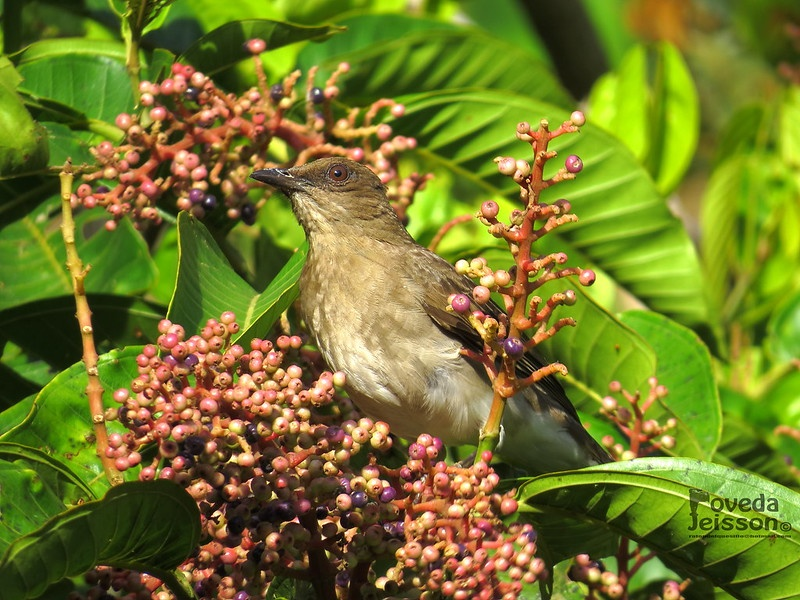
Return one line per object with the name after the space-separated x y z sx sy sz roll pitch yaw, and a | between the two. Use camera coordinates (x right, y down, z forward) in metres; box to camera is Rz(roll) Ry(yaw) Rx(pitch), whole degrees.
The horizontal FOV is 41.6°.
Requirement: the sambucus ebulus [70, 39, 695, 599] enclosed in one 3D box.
-0.089 -0.060 4.163 2.363 1.708 2.000 1 22 -15 | sambucus ebulus
